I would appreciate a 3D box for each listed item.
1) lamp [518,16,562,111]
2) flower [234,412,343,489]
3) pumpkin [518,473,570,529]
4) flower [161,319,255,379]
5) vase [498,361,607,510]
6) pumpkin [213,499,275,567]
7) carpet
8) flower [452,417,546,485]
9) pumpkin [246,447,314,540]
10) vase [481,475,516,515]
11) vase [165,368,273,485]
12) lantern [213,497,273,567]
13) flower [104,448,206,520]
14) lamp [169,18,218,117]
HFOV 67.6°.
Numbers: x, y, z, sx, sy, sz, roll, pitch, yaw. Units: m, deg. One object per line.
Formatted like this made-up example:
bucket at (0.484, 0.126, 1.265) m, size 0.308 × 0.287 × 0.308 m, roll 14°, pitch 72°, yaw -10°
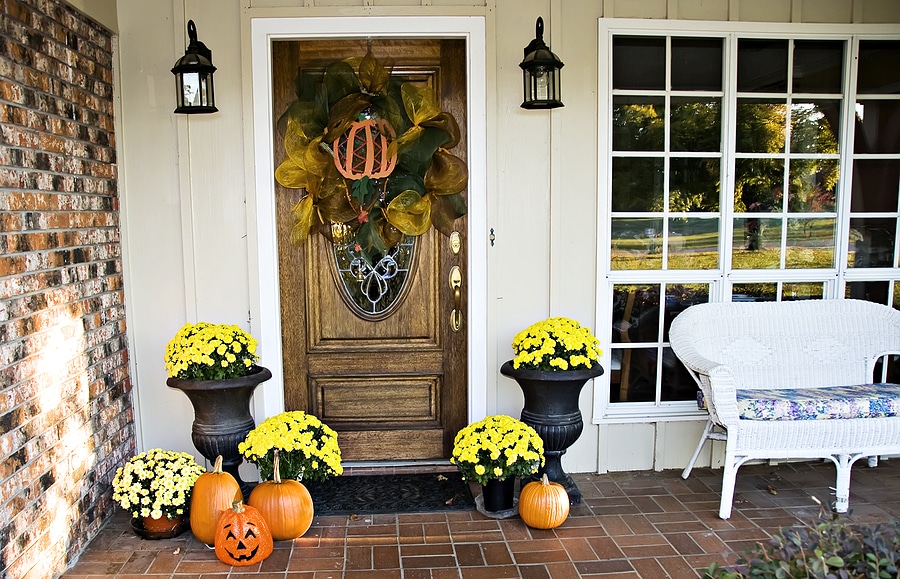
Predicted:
lamp at (0.636, -1.547, 4.647) m, size 0.272 × 0.594 × 0.368 m, roll 0°, pitch 8°, yaw 9°
flower at (-1.109, 1.062, 4.530) m, size 0.590 × 0.387 × 0.588 m, roll -7°, pitch -5°, yaw 27°
pumpkin at (0.625, 1.391, 4.443) m, size 0.356 × 0.334 × 0.342 m, roll 11°, pitch -11°, yaw -43°
flower at (-1.688, 0.397, 4.494) m, size 0.479 × 0.307 × 0.467 m, roll -17°, pitch 18°, yaw -34°
vase at (0.706, 1.009, 4.649) m, size 0.708 × 0.798 × 0.643 m, roll -4°, pitch -12°, yaw 22°
pumpkin at (-1.208, 1.448, 4.101) m, size 0.393 × 0.395 × 0.346 m, roll 0°, pitch -2°, yaw -13°
carpet at (-0.356, 1.425, 4.765) m, size 1.038 × 0.012 × 0.650 m, roll -1°, pitch 8°, yaw -7°
flower at (0.286, 1.065, 4.544) m, size 0.597 × 0.407 × 0.615 m, roll -8°, pitch -18°, yaw 2°
pumpkin at (-1.085, 1.311, 4.329) m, size 0.370 × 0.510 × 0.385 m, roll -10°, pitch -7°, yaw 44°
vase at (0.337, 1.349, 4.452) m, size 0.241 × 0.179 × 0.248 m, roll 0°, pitch -1°, yaw 1°
vase at (-1.527, 0.986, 4.577) m, size 0.672 × 0.734 × 0.667 m, roll -7°, pitch -7°, yaw 16°
lantern at (-1.258, 1.473, 4.122) m, size 0.375 × 0.371 × 0.321 m, roll -3°, pitch 2°, yaw 6°
flower at (-1.838, 1.227, 4.208) m, size 0.497 × 0.300 × 0.448 m, roll 5°, pitch 27°, yaw -3°
lamp at (-1.709, -1.499, 4.513) m, size 0.320 × 0.592 × 0.304 m, roll 0°, pitch 12°, yaw -2°
